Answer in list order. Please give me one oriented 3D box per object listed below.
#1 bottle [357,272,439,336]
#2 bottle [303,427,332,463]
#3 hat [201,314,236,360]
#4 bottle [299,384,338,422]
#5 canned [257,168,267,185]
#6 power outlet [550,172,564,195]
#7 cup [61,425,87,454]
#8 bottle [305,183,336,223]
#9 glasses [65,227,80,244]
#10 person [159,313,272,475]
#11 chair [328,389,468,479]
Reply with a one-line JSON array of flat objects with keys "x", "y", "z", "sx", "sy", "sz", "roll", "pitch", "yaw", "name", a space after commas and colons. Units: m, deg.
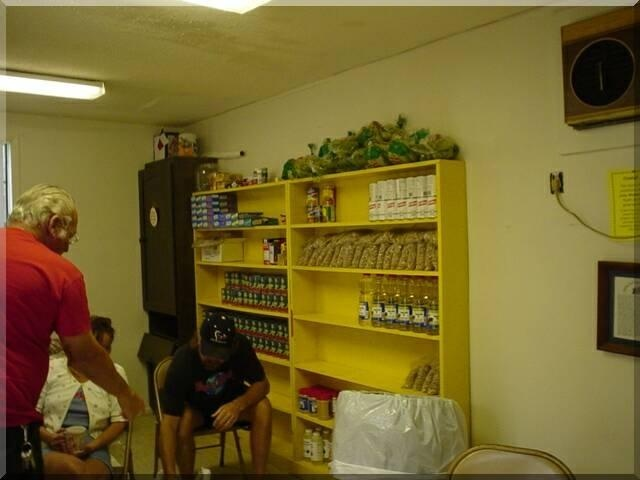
[{"x": 0.507, "y": 0.400, "z": 3.144, "sx": 0.130, "sy": 0.272, "sz": 0.441, "roll": 2, "pitch": -2, "yaw": -39, "name": "bottle"}, {"x": 0.009, "y": 1.457, "z": 3.638, "sx": 0.211, "sy": 0.208, "sz": 0.215, "roll": -1, "pitch": -7, "yaw": 17, "name": "bottle"}, {"x": -0.607, "y": 0.555, "z": 3.010, "sx": 0.180, "sy": 0.147, "sz": 0.271, "roll": 13, "pitch": 35, "yaw": -25, "name": "hat"}, {"x": -0.015, "y": 1.151, "z": 3.571, "sx": 0.177, "sy": 0.151, "sz": 0.241, "roll": 4, "pitch": -5, "yaw": -39, "name": "bottle"}, {"x": -0.458, "y": -0.523, "z": 4.102, "sx": 0.107, "sy": 0.115, "sz": 0.109, "roll": -1, "pitch": 6, "yaw": -13, "name": "canned"}, {"x": 1.266, "y": -0.305, "z": 2.683, "sx": 0.074, "sy": 0.083, "sz": 0.028, "roll": 4, "pitch": 3, "yaw": 35, "name": "power outlet"}, {"x": -1.237, "y": 1.003, "z": 2.570, "sx": 0.104, "sy": 0.118, "sz": 0.164, "roll": 0, "pitch": -2, "yaw": -18, "name": "cup"}, {"x": 0.018, "y": -0.264, "z": 3.621, "sx": 0.120, "sy": 0.339, "sz": 0.251, "roll": 7, "pitch": -10, "yaw": -41, "name": "bottle"}, {"x": -1.097, "y": -0.023, "z": 2.220, "sx": 0.048, "sy": 0.067, "sz": 0.066, "roll": -2, "pitch": 1, "yaw": -5, "name": "glasses"}, {"x": -0.681, "y": 0.902, "z": 3.387, "sx": 0.677, "sy": 1.146, "sz": 1.044, "roll": -1, "pitch": 4, "yaw": -14, "name": "person"}, {"x": 0.398, "y": 0.959, "z": 2.635, "sx": 0.597, "sy": 0.363, "sz": 0.412, "roll": -4, "pitch": -11, "yaw": 34, "name": "chair"}]
